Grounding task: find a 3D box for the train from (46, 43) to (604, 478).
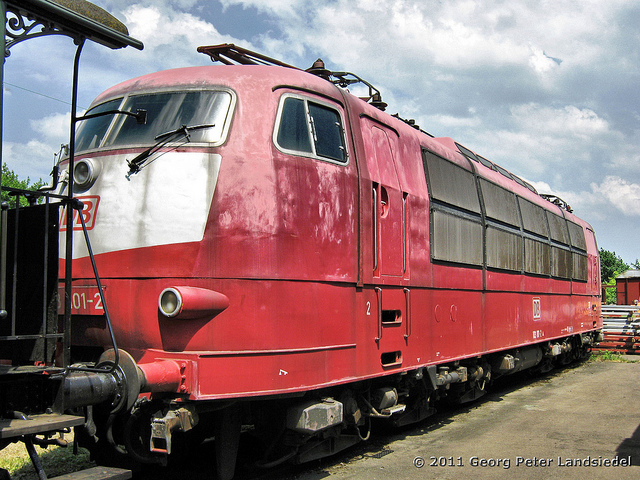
[{"bbox_3d":[3.439,0.924,12.973,3.733,5.523,20.086,-4,-8,34],"label":"train"}]
